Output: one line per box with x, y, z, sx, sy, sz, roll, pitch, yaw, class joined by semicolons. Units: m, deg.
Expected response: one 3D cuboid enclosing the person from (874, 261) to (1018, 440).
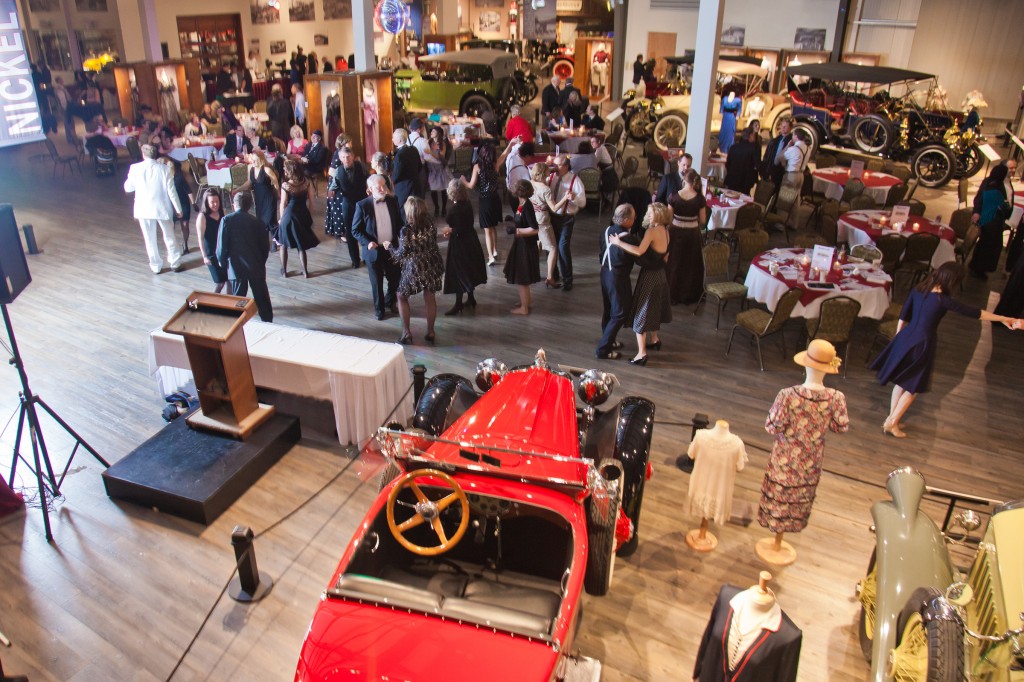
4.498;0.103;7.668;0.741;1.924;0.487;-6;22;-12;person

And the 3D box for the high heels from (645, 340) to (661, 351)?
1.888;0.051;9.166;0.201;0.120;0.143;3;22;8;high heels

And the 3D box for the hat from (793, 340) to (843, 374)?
3.031;0.173;6.799;0.304;0.177;0.288;25;46;30;hat

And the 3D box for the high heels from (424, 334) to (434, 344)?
-1.088;-0.024;9.122;0.074;0.129;0.120;-2;4;10;high heels

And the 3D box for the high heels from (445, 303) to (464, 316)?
-0.810;-0.431;9.785;0.312;0.134;0.108;2;2;33;high heels

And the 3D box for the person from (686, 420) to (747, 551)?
1.879;1.409;6.536;0.520;1.286;0.375;4;20;5;person

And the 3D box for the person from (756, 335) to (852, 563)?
2.611;1.031;6.278;0.660;2.148;0.405;-9;23;-20;person

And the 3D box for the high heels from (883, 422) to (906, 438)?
4.336;1.018;7.883;0.283;0.220;0.116;1;48;27;high heels

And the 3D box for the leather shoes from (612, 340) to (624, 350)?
1.389;0.061;9.073;0.117;0.086;0.039;-26;44;-20;leather shoes

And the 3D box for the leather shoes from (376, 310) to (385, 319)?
-1.843;-0.368;9.673;0.068;0.097;0.138;3;32;4;leather shoes
